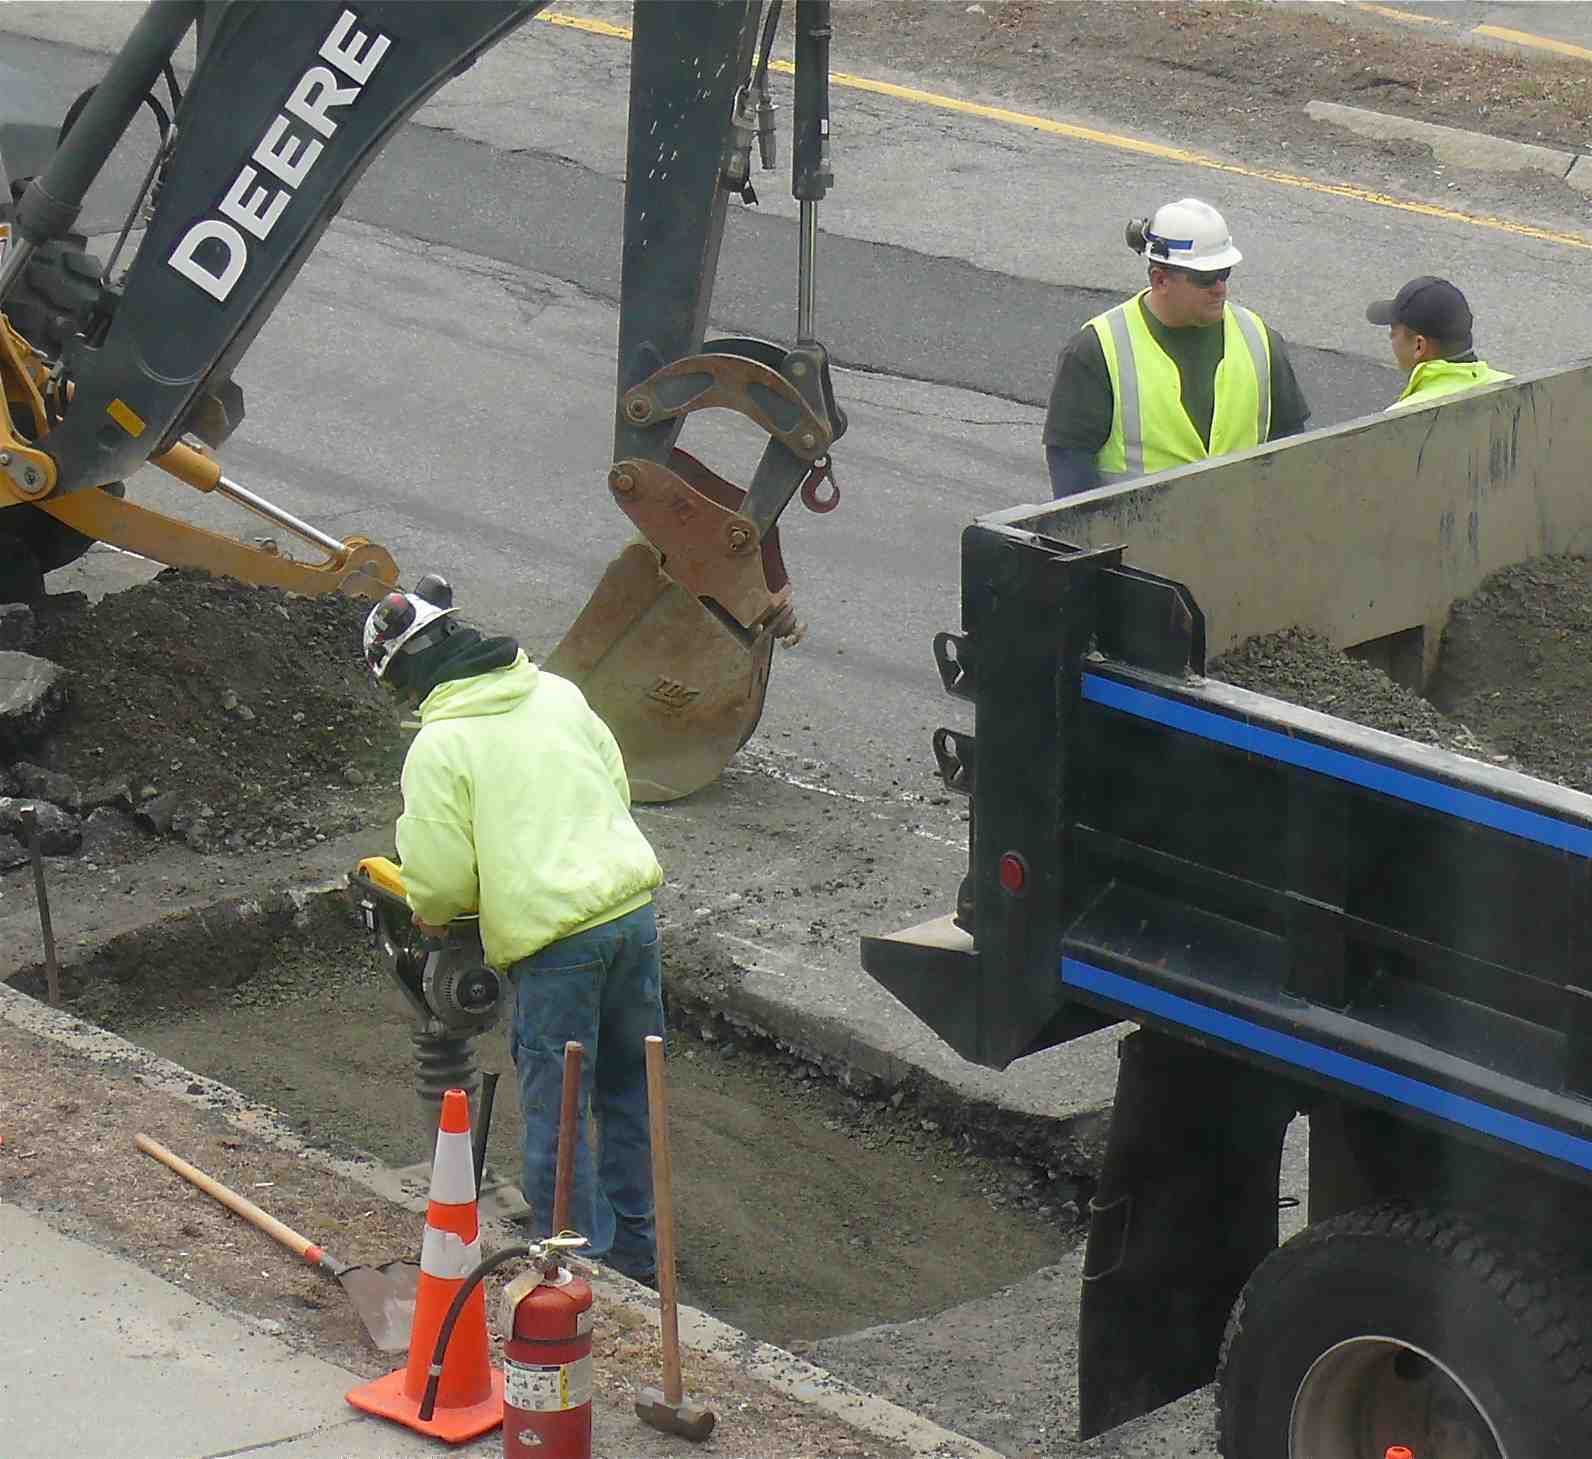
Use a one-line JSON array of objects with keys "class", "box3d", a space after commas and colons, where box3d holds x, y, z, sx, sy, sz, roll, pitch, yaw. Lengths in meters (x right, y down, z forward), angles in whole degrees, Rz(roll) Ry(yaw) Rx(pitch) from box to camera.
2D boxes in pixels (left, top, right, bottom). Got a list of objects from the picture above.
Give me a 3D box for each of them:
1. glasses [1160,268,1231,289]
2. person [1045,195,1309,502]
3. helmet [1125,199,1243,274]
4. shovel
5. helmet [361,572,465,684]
[{"class": "glasses", "box3d": [1.230, -1.381, 9.083, 0.087, 0.044, 0.112, -15, 28, -42]}, {"class": "person", "box3d": [1.230, -1.069, 9.310, 0.867, 1.146, 0.593, -3, 20, -4]}, {"class": "helmet", "box3d": [1.208, -1.525, 9.188, 0.329, 0.238, 0.368, 8, 7, 3]}, {"class": "shovel", "box3d": [-1.262, 1.335, 7.426, 0.837, 0.064, 0.280, 28, 25, 32]}, {"class": "helmet", "box3d": [-0.994, -0.265, 7.702, 0.107, 0.215, 0.305, 52, 1, -14]}]
